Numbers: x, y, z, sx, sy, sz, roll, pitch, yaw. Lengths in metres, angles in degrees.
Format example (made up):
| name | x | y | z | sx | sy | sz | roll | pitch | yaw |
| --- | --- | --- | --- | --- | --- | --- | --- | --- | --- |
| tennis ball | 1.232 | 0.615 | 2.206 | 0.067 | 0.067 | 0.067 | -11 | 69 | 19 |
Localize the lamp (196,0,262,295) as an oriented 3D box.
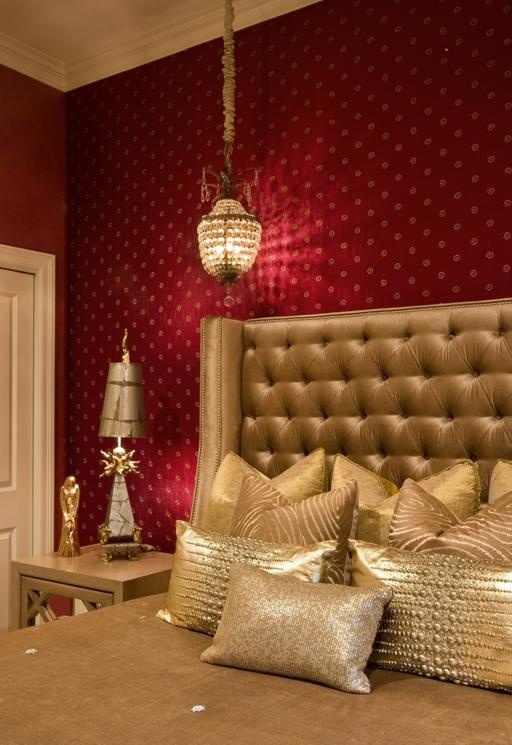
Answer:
| name | x | y | z | sx | sy | sz | roll | pitch | yaw |
| --- | --- | --- | --- | --- | --- | --- | --- | --- | --- |
| lamp | -0.104 | -1.025 | 2.513 | 0.273 | 1.330 | 0.759 | 1 | -8 | -5 |
